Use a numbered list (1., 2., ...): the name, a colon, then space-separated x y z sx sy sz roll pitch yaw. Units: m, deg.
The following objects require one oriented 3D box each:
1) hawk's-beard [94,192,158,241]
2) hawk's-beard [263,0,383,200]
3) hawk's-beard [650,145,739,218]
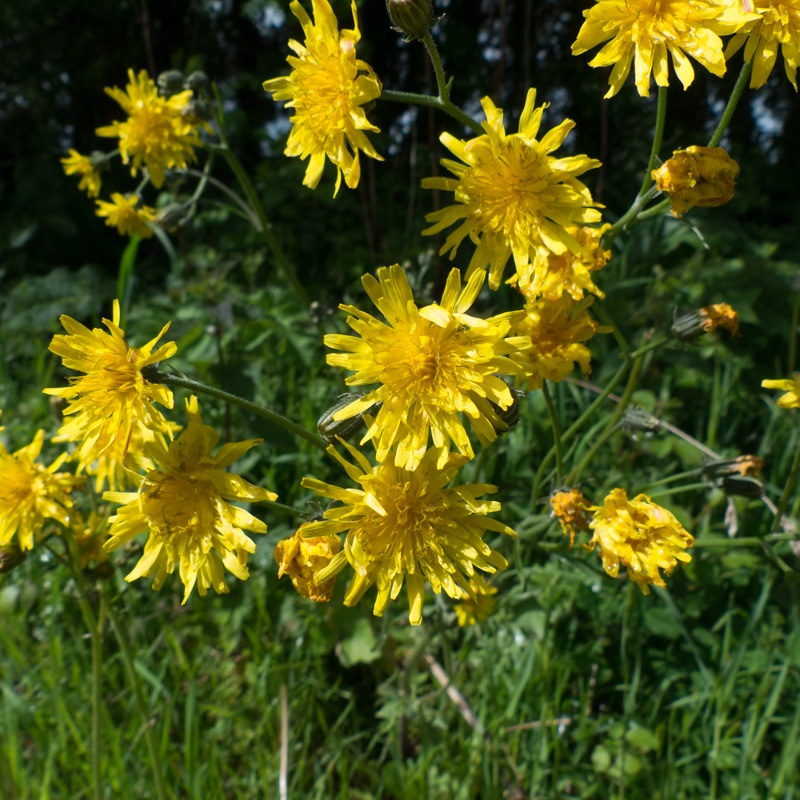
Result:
1. hawk's-beard: -0.642 -0.439 2.130 0.066 0.143 0.139 -51 26 -3
2. hawk's-beard: -0.149 -0.591 1.777 0.214 0.288 0.338 -11 53 -5
3. hawk's-beard: 0.586 -0.444 1.787 0.159 0.113 0.133 -4 53 0
